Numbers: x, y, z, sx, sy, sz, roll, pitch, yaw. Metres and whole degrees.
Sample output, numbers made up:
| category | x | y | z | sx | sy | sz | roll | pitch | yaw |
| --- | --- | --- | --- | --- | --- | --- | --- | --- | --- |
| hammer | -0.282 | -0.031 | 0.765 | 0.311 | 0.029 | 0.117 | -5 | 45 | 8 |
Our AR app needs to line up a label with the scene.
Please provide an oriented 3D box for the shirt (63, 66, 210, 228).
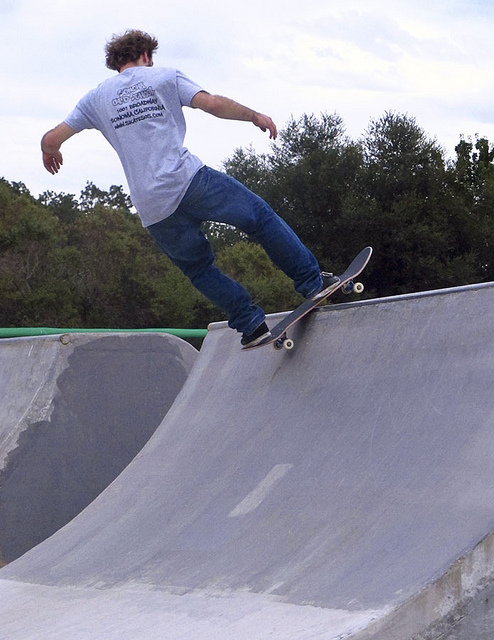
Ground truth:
| category | x | y | z | sx | sy | sz | roll | pitch | yaw |
| --- | --- | --- | --- | --- | --- | --- | --- | --- | --- |
| shirt | -0.458 | -0.831 | 4.136 | 0.349 | 0.763 | 0.597 | -21 | 12 | -39 |

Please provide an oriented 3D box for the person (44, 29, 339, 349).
| category | x | y | z | sx | sy | sz | roll | pitch | yaw |
| --- | --- | --- | --- | --- | --- | --- | --- | --- | --- |
| person | -0.275 | -0.667 | 4.289 | 1.216 | 1.506 | 0.739 | -15 | -8 | -14 |
